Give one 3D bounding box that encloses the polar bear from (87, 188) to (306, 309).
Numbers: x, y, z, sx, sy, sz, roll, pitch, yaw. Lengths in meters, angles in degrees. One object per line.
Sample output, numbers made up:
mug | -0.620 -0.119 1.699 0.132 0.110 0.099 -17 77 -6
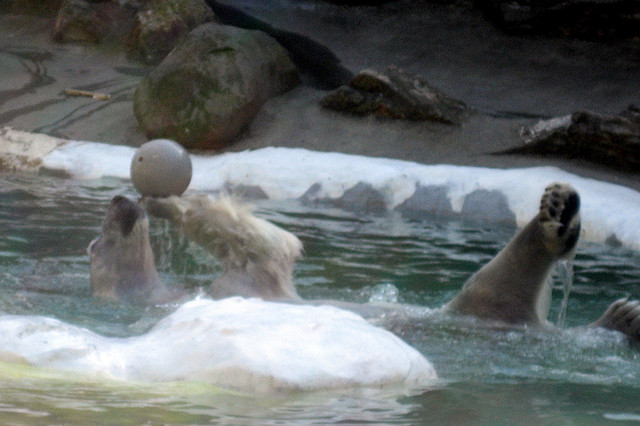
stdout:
polar bear | -2.127 0.978 19.617 4.356 2.618 1.550 3 7 -43
